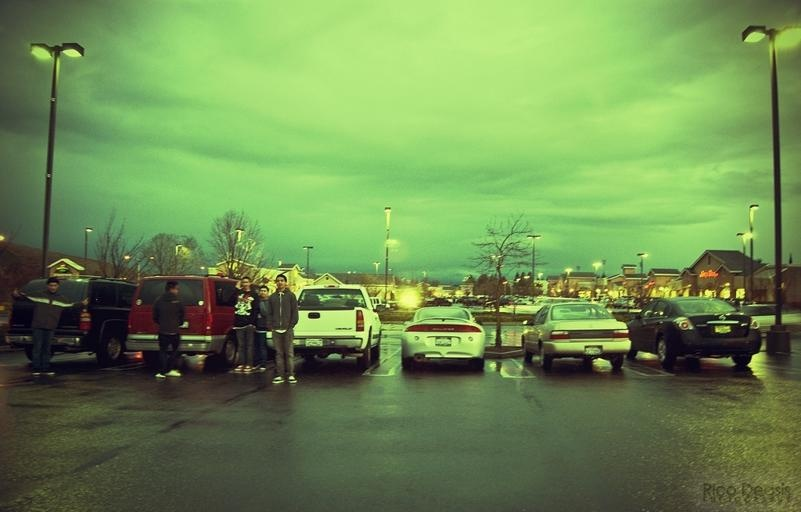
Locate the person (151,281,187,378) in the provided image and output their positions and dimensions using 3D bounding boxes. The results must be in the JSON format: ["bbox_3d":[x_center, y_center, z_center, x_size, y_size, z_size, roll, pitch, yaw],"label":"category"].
[{"bbox_3d":[-5.991,1.870,19.428,0.713,2.437,0.954,-2,-6,9],"label":"person"}]

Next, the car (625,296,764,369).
[{"bbox_3d":[8.165,2.172,21.617,1.795,1.996,3.225,2,-7,-25],"label":"car"}]

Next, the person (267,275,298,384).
[{"bbox_3d":[-2.960,1.832,18.819,0.715,2.599,0.509,0,-6,-5],"label":"person"}]

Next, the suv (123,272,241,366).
[{"bbox_3d":[-5.763,1.568,21.035,2.072,1.774,3.283,0,1,9],"label":"suv"}]

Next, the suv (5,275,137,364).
[{"bbox_3d":[-8.960,1.665,21.719,2.157,1.629,3.593,1,2,12],"label":"suv"}]

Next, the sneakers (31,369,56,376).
[{"bbox_3d":[-9.206,3.011,19.473,0.605,0.212,0.196,-3,-1,7],"label":"sneakers"}]

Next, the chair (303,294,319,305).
[{"bbox_3d":[-2.419,1.192,20.552,0.311,0.189,0.277,1,-6,8],"label":"chair"}]

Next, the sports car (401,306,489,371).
[{"bbox_3d":[1.120,2.293,20.639,2.185,1.586,0.977,-1,-6,0],"label":"sports car"}]

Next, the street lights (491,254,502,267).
[{"bbox_3d":[3.042,0.131,23.912,0.391,0.355,0.105,-8,-25,30],"label":"street lights"}]

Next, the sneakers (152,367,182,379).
[{"bbox_3d":[-6.044,3.002,19.505,0.690,0.276,0.239,-3,-1,0],"label":"sneakers"}]
